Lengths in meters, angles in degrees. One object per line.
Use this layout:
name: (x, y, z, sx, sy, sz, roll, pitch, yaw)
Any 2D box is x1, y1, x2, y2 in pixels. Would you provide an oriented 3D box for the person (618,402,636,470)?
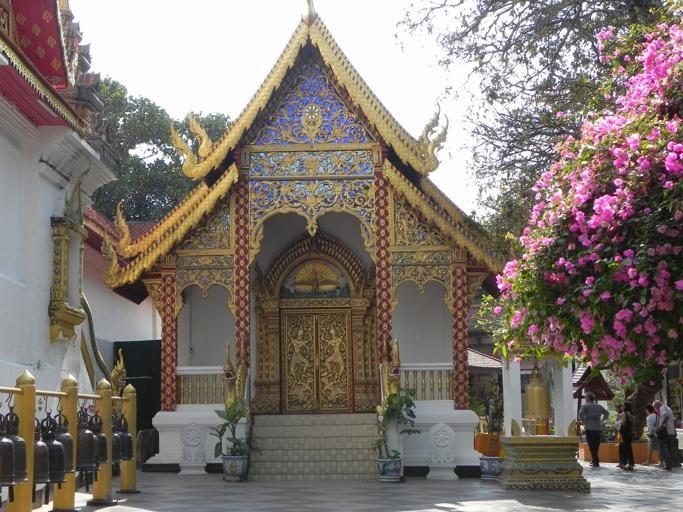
person: (4.452, 2.824, 14.116, 0.276, 1.092, 0.594, -8, -20, 16)

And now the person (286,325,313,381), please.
person: (-0.669, 1.579, 14.590, 0.341, 0.785, 0.128, 0, -19, -5)

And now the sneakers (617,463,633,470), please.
sneakers: (4.414, 3.270, 13.968, 0.184, 0.082, 0.064, 9, -10, 2)

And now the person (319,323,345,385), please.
person: (-0.110, 1.592, 14.557, 0.337, 0.825, 0.110, -2, -19, 0)

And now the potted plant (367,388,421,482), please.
potted plant: (0.738, 2.422, 12.138, 0.593, 1.273, 0.733, -5, -19, 7)

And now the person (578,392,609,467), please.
person: (3.979, 2.693, 14.158, 0.393, 1.170, 1.077, -7, -20, 15)

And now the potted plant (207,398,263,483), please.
potted plant: (-1.447, 2.551, 12.262, 0.671, 1.125, 0.928, 0, -19, -6)

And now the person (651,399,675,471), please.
person: (5.163, 2.839, 14.289, 0.279, 1.184, 0.912, -9, -20, 19)

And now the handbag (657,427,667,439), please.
handbag: (5.000, 2.767, 14.016, 0.141, 0.136, 0.210, -9, -21, 19)

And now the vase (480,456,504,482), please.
vase: (2.011, 2.852, 12.057, 0.361, 0.286, 0.314, 1, -3, 15)
